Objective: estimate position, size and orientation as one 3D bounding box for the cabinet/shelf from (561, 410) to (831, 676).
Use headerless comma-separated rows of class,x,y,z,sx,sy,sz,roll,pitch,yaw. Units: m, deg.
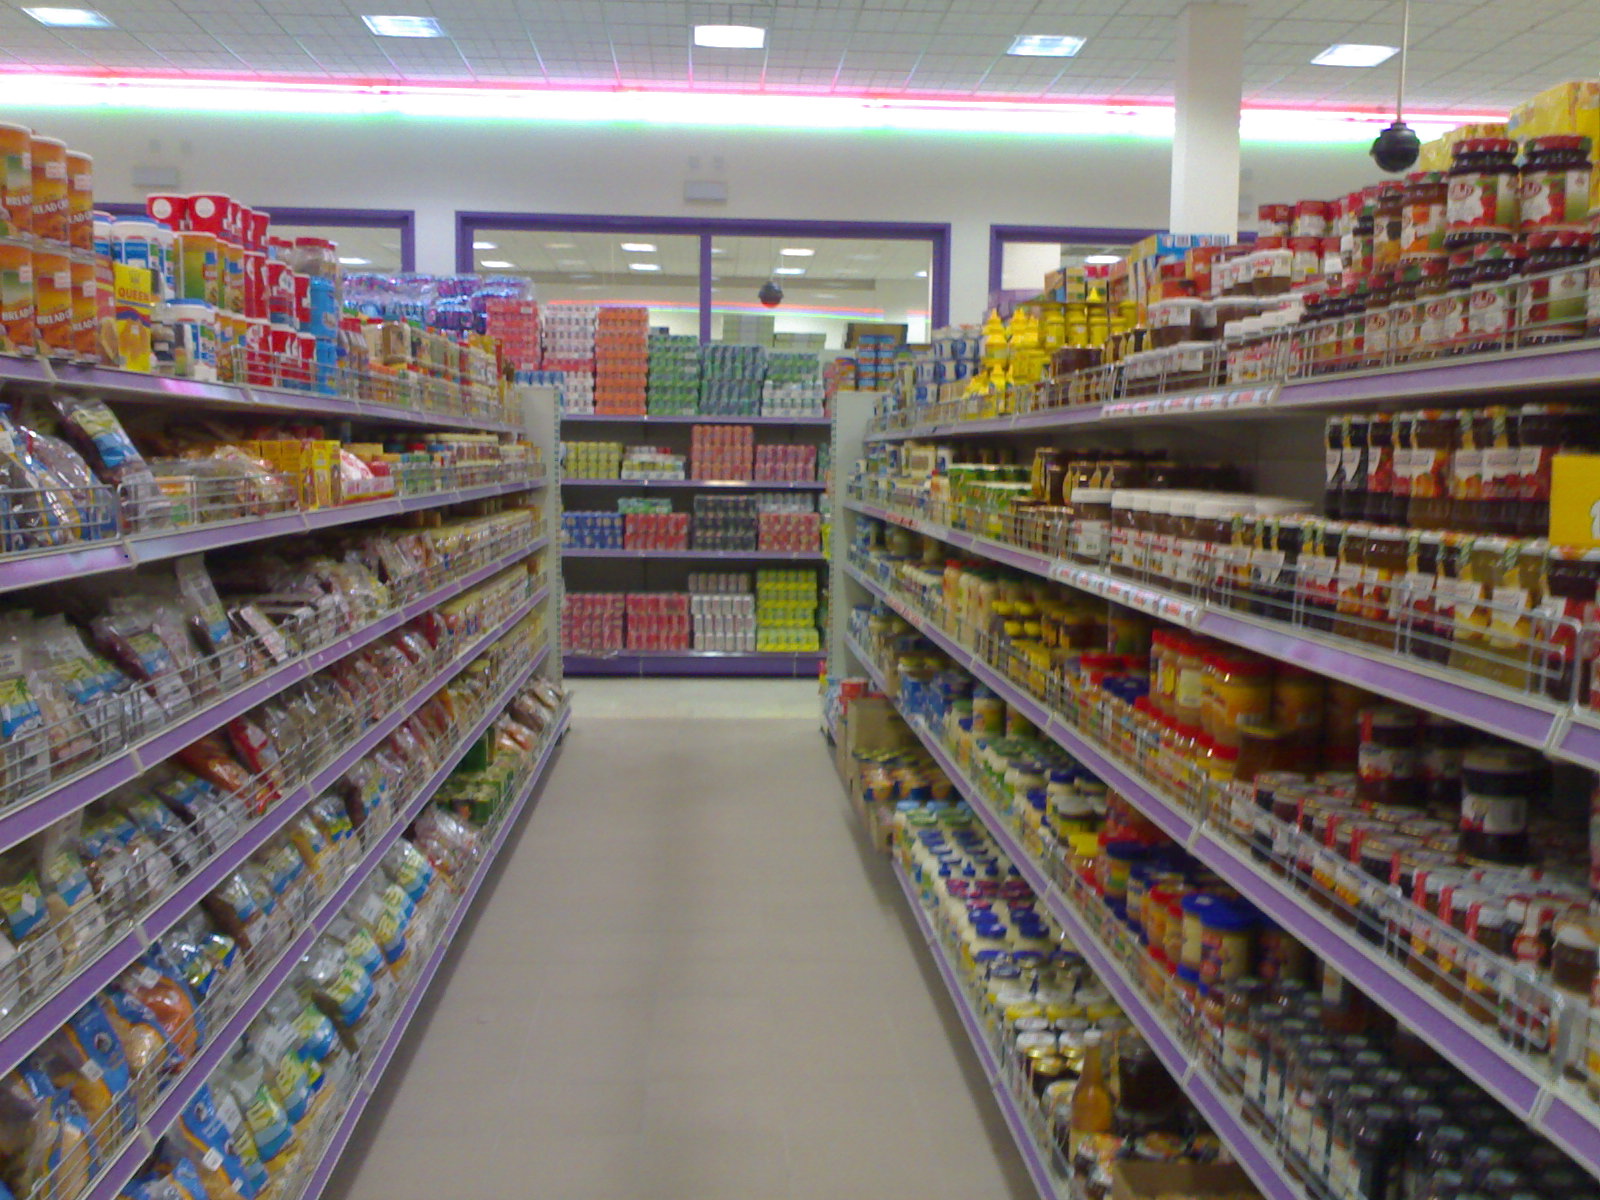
cabinet/shelf,-0.806,-0.462,9.016,2.125,2.237,0.739,1,21,3
